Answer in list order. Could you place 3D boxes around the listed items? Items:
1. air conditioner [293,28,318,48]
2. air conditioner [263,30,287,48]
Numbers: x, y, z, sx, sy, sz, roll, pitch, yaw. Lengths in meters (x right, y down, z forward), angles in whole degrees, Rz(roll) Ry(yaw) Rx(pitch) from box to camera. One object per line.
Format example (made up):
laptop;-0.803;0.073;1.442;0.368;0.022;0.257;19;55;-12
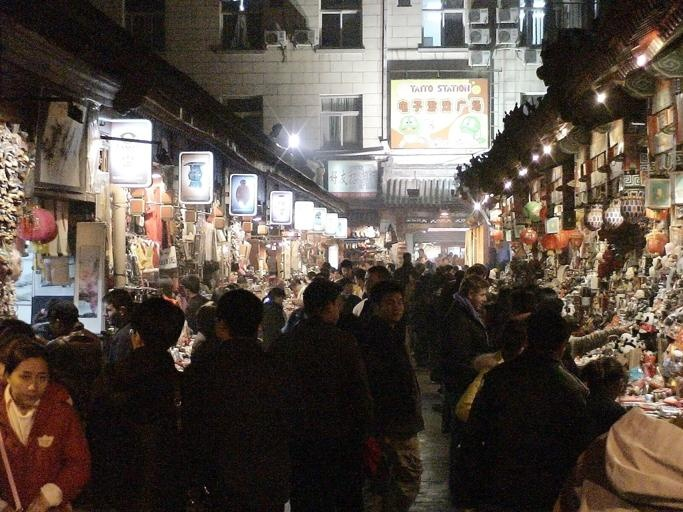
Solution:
air conditioner;-1.634;-9.930;30.385;1.059;0.813;0.640;0;-3;-1
air conditioner;-2.894;-9.795;29.868;0.999;0.669;0.989;0;-2;-7
